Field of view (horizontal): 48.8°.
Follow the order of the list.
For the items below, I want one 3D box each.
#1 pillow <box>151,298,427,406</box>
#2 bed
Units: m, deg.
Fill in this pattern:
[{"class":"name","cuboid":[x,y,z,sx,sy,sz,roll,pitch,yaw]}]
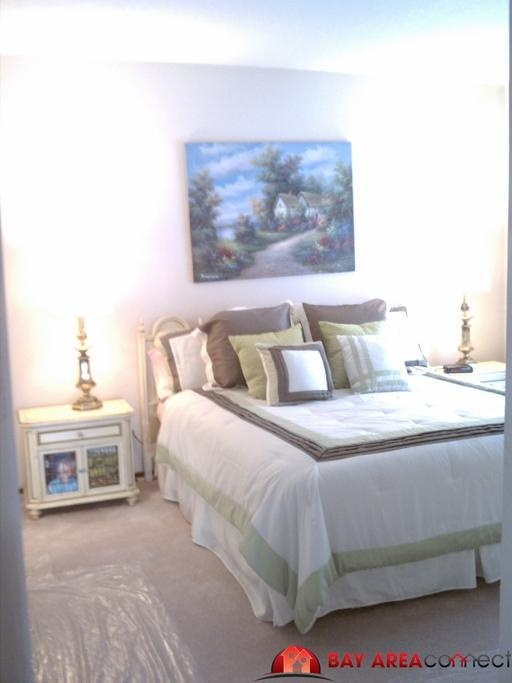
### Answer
[{"class":"pillow","cuboid":[0.221,-0.074,3.465,0.979,0.321,0.857,-6,15,-7]},{"class":"bed","cuboid":[0.188,0.382,2.364,0.860,0.433,1.161,-4,11,-21]}]
